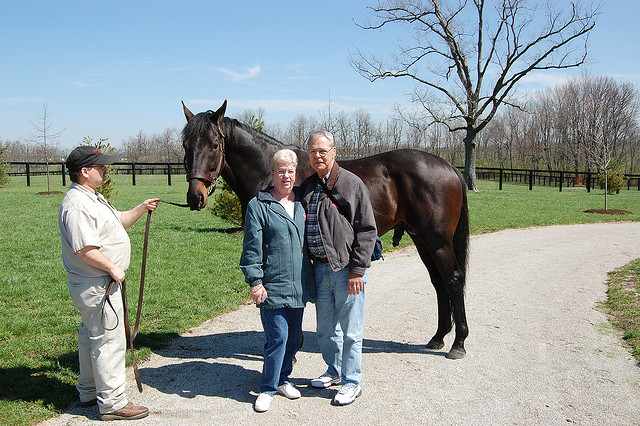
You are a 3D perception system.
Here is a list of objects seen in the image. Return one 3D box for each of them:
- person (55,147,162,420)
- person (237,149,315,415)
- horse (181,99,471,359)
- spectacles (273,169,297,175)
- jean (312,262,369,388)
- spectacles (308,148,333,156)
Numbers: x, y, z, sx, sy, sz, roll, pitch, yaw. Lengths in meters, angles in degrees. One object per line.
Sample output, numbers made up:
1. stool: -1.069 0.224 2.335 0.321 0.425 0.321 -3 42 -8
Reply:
1. person: -2.718 0.869 6.259 0.913 3.314 1.103 -7 15 -28
2. person: -0.547 0.851 6.468 0.977 3.275 0.760 -5 14 -19
3. horse: 0.154 0.365 8.011 4.710 3.686 1.338 1 0 -4
4. spectacles: -0.475 -0.537 6.425 0.274 0.069 0.081 -2 14 -8
5. jean: 0.211 1.485 6.550 0.679 1.663 0.386 2 13 8
6. spectacles: -0.005 -0.799 6.487 0.316 0.101 0.118 1 14 4
